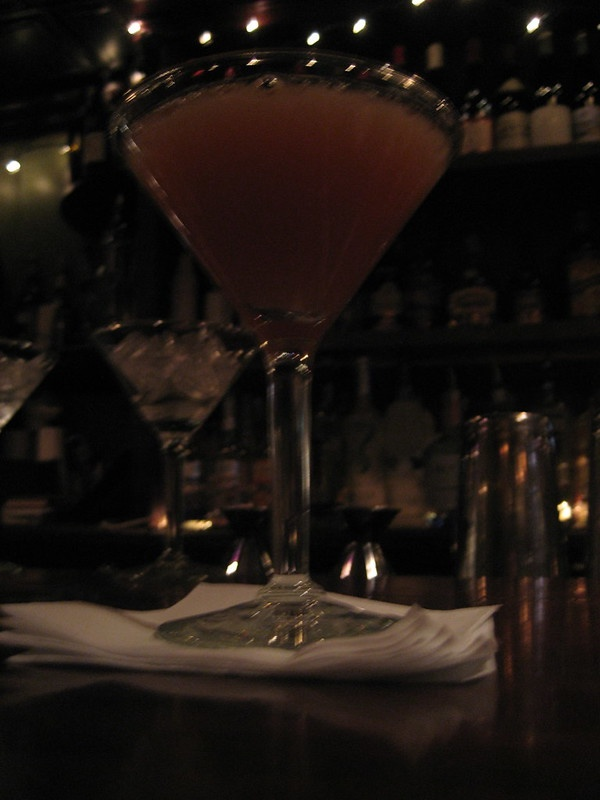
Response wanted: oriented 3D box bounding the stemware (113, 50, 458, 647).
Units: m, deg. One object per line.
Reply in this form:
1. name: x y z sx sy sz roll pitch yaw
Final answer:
1. stemware: 0.010 -0.025 0.423 0.198 0.275 0.186 0 -3 -14

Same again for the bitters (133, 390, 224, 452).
1. bitters: -0.135 0.025 0.917 0.086 0.045 0.067 1 -4 3
